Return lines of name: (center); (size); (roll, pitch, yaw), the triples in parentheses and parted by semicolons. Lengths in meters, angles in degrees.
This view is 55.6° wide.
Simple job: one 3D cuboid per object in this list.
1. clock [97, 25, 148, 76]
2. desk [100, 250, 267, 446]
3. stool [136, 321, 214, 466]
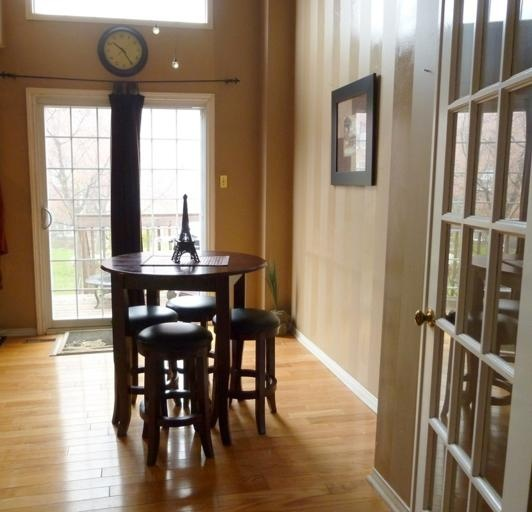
clock: (-1.284, -1.791, 4.430); (0.331, 0.435, 0.033); (2, 7, -12)
desk: (-0.496, 0.401, 3.025); (0.882, 1.063, 0.838); (2, 5, 25)
stool: (-0.470, 0.690, 2.644); (0.376, 0.651, 0.390); (-2, 8, -16)
